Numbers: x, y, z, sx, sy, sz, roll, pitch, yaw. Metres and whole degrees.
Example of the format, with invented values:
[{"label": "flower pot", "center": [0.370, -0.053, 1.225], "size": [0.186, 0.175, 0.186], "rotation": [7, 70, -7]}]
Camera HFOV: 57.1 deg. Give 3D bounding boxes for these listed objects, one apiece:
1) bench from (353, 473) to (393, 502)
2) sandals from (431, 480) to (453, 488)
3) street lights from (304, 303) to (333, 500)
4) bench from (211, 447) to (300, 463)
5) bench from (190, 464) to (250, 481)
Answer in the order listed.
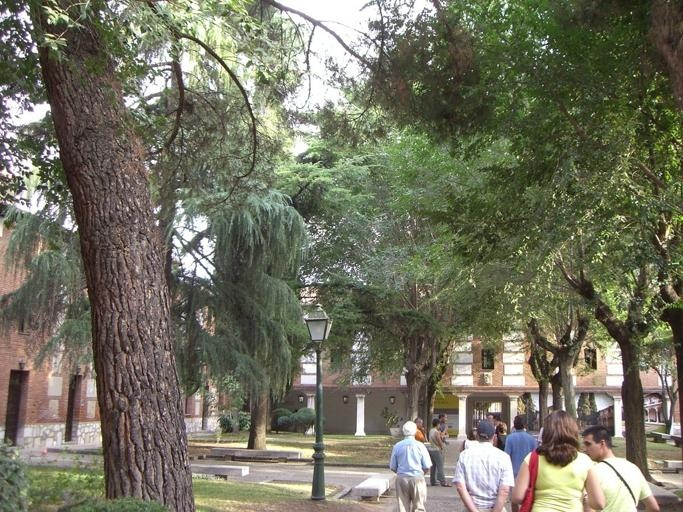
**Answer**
[{"label": "bench", "center": [0.785, 5.581, 15.146], "size": [0.636, 0.454, 2.101], "rotation": [-2, -17, 11]}, {"label": "sandals", "center": [2.785, 6.350, 17.477], "size": [0.627, 0.192, 0.248], "rotation": [-6, -12, 15]}, {"label": "street lights", "center": [-0.560, 3.223, 14.415], "size": [0.510, 4.387, 0.973], "rotation": [1, -13, -2]}, {"label": "bench", "center": [-3.186, 7.502, 23.758], "size": [3.410, 0.461, 0.792], "rotation": [3, -16, -7]}, {"label": "bench", "center": [-3.352, 5.979, 17.455], "size": [1.568, 0.310, 1.112], "rotation": [5, -17, -14]}]
